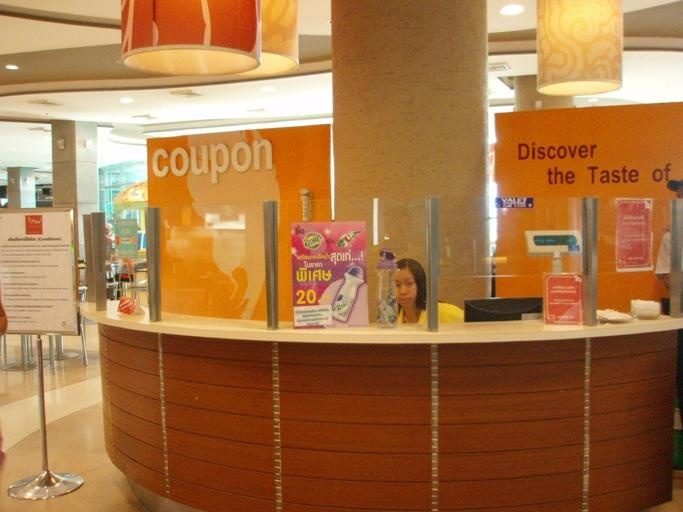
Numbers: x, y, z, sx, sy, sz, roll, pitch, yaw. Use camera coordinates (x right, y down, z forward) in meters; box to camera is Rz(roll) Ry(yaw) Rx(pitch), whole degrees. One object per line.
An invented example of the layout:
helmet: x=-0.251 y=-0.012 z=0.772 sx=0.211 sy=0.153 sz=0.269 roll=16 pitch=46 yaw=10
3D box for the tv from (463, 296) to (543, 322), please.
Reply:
tv: x=0.977 y=0.324 z=3.674 sx=0.464 sy=0.147 sz=0.055 roll=-1 pitch=8 yaw=0
